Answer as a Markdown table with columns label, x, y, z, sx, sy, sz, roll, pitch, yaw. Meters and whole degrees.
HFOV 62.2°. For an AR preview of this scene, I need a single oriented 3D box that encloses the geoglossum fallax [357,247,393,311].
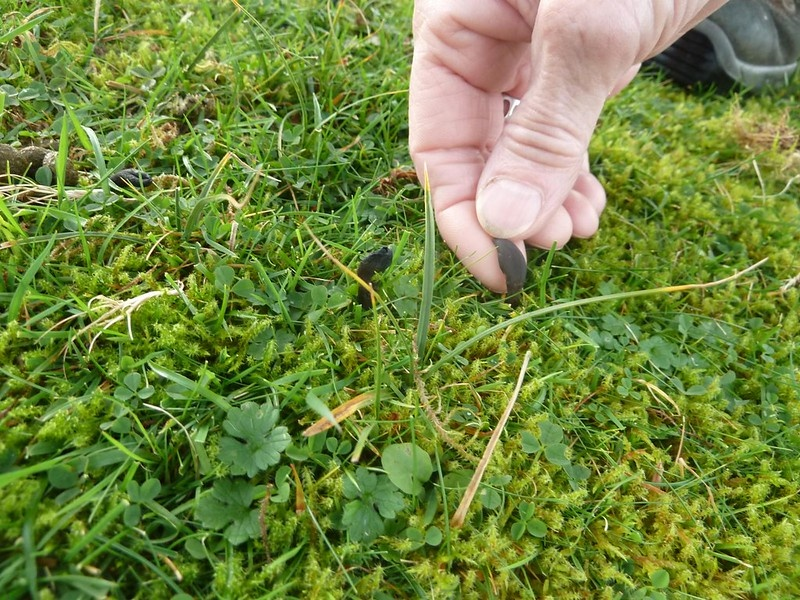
| label | x | y | z | sx | sy | sz | roll | pitch | yaw |
| --- | --- | --- | --- | --- | --- | --- | --- | --- | --- |
| geoglossum fallax | -0.104 | -0.084 | 2.306 | 0.099 | 0.231 | 0.123 | 24 | 50 | -3 |

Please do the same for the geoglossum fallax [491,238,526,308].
| label | x | y | z | sx | sy | sz | roll | pitch | yaw |
| --- | --- | --- | --- | --- | --- | --- | --- | --- | --- |
| geoglossum fallax | 0.426 | -0.069 | 2.504 | 0.099 | 0.347 | 0.098 | -8 | 40 | 2 |
